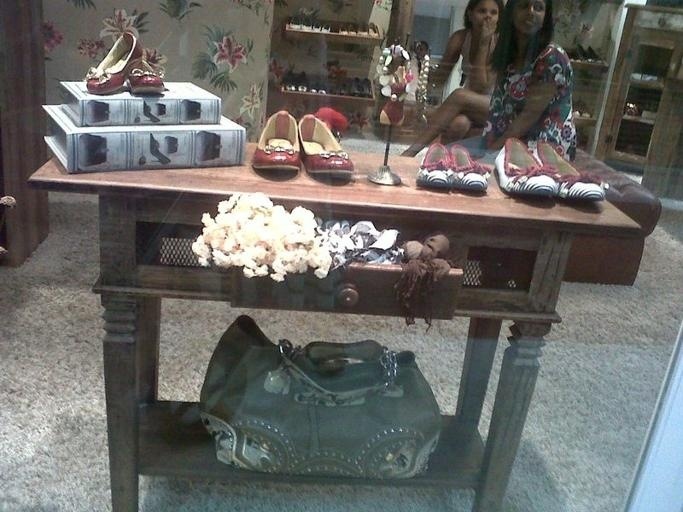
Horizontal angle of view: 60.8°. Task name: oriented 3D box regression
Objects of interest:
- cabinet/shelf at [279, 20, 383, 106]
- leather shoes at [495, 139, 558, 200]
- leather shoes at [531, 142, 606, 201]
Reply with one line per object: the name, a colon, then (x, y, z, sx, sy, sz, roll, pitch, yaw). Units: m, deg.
cabinet/shelf: (-0.014, -0.354, 1.073, 0.207, 0.135, 0.115, 9, 27, 16)
leather shoes: (0.396, -0.183, 1.212, 0.117, 0.110, 0.253, 5, 16, 15)
leather shoes: (0.422, -0.163, 1.151, 0.079, 0.069, 0.161, -21, 55, -37)
